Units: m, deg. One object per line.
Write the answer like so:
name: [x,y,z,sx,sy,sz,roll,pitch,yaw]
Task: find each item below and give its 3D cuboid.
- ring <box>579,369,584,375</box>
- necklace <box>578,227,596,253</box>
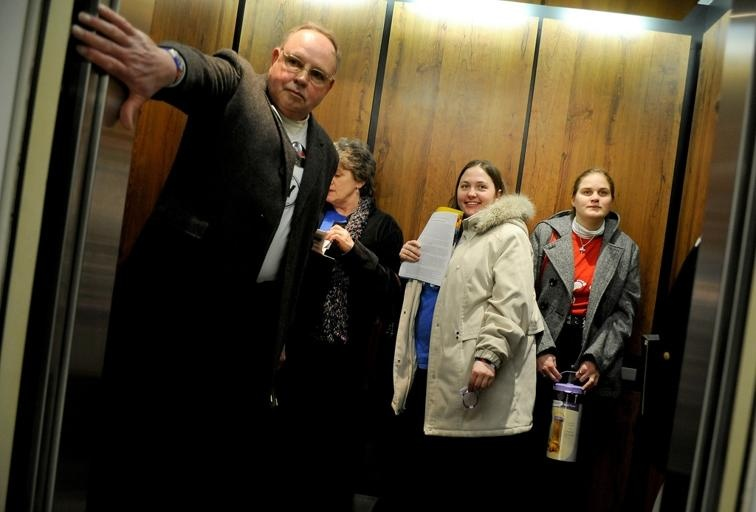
ring: [1.073,0.607,2.938,0.026,0.028,0.011,-5,42,-20]
necklace: [1.208,-0.094,3.232,0.100,0.146,0.066,7,2,9]
